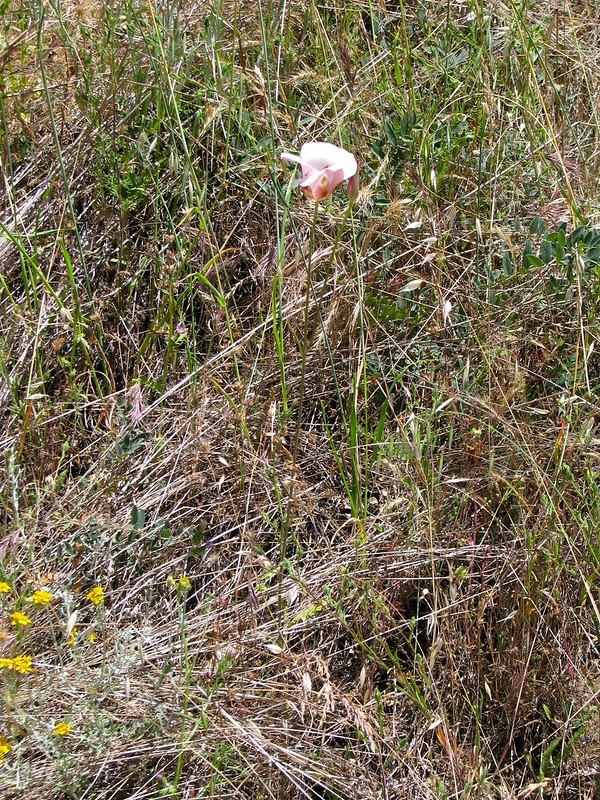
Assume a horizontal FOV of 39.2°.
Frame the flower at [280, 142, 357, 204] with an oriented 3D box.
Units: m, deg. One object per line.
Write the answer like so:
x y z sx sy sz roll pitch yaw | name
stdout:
0.041 -0.357 1.409 0.095 0.106 0.063 -5 88 15 | flower
